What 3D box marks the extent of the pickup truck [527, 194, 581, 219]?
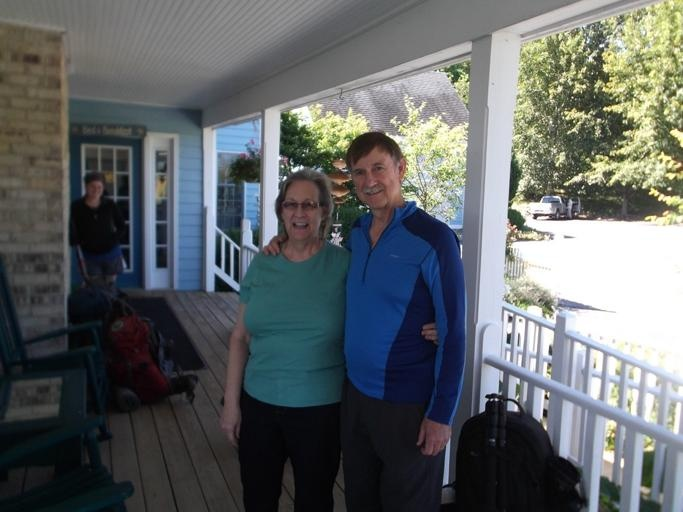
[{"bbox_3d":[9.225,-2.121,20.946,1.620,0.786,0.991,-7,14,-18],"label":"pickup truck"}]
